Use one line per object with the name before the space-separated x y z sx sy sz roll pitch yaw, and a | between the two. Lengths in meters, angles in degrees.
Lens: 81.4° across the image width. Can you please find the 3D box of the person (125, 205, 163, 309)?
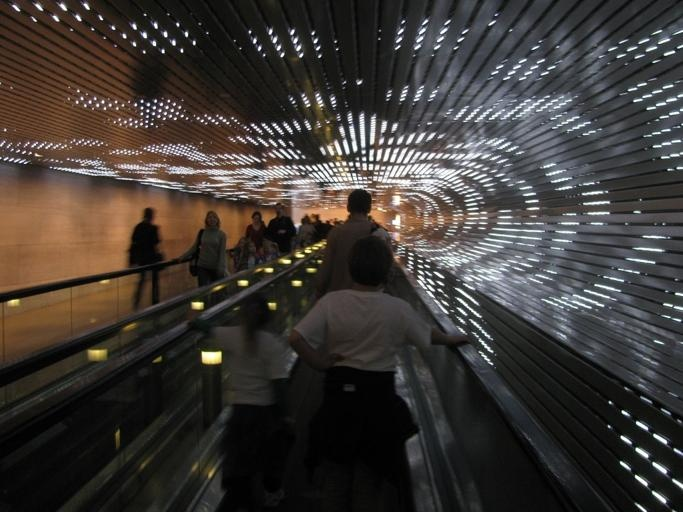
person | -3.503 -0.037 7.151 0.559 1.645 1.352 -1 9 -26
